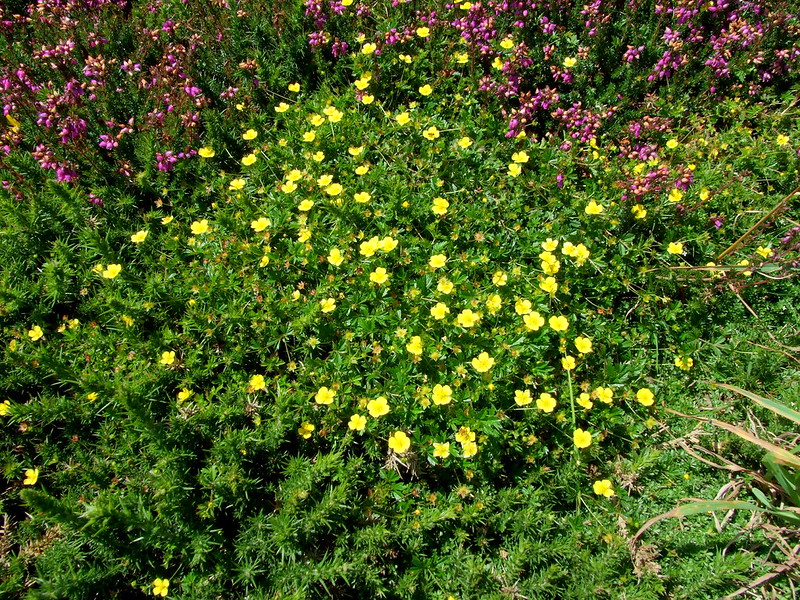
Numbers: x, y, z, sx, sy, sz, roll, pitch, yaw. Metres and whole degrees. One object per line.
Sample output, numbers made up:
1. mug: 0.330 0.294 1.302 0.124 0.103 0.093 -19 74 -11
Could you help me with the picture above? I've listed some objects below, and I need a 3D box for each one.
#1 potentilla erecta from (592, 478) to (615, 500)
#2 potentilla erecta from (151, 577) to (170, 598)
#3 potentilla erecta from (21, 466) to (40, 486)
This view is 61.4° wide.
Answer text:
1. potentilla erecta: 2.098 1.949 6.939 0.242 0.132 0.181 4 81 -1
2. potentilla erecta: -2.314 2.790 6.519 0.178 0.073 0.180 2 31 -7
3. potentilla erecta: -3.870 1.852 7.068 0.161 0.089 0.187 -13 62 6
